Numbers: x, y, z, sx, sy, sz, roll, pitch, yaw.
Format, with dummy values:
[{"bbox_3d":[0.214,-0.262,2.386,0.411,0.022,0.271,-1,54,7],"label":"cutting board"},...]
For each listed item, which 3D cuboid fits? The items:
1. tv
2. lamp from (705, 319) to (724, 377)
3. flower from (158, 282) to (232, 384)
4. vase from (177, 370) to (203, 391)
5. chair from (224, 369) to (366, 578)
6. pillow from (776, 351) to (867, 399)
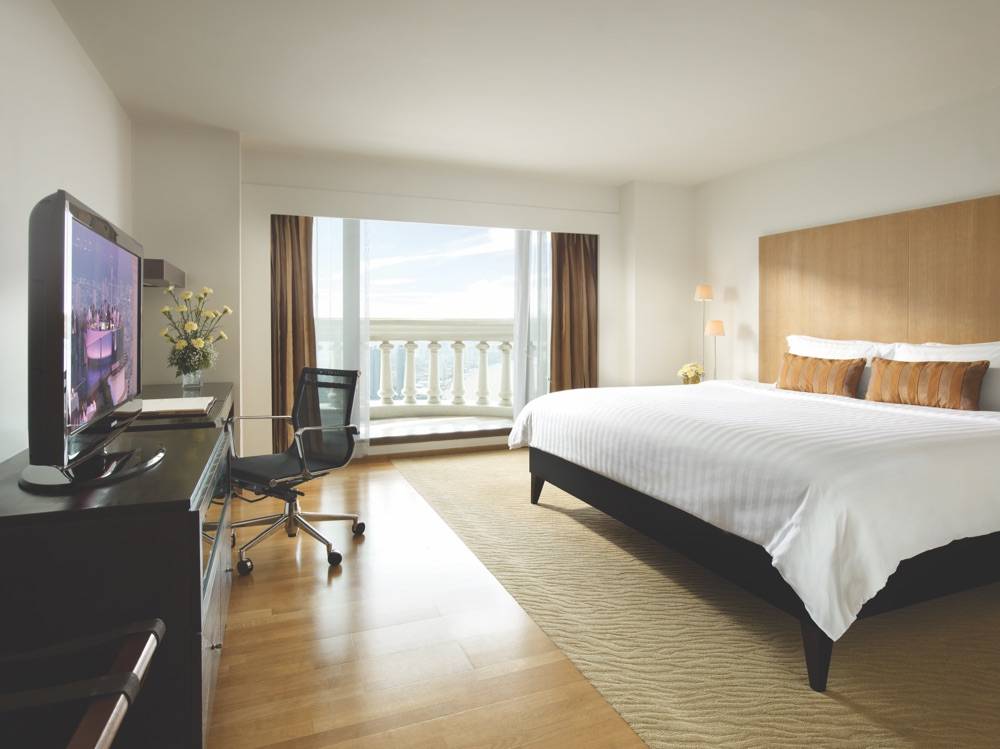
[{"bbox_3d":[-1.583,-0.127,2.601,0.420,0.944,0.925,2,5,-15],"label":"tv"},{"bbox_3d":[2.127,-0.247,6.565,0.156,0.622,0.439,3,11,19],"label":"lamp"},{"bbox_3d":[-2.073,-0.176,4.477,0.418,0.593,0.501,-1,-9,-29],"label":"flower"},{"bbox_3d":[-2.046,0.033,4.401,0.109,0.219,0.114,2,5,-15],"label":"vase"},{"bbox_3d":[-1.247,0.512,3.909,0.812,1.079,0.819,-2,6,-23],"label":"chair"},{"bbox_3d":[2.349,0.006,4.848,0.115,0.259,0.676,15,-2,-12],"label":"pillow"}]
